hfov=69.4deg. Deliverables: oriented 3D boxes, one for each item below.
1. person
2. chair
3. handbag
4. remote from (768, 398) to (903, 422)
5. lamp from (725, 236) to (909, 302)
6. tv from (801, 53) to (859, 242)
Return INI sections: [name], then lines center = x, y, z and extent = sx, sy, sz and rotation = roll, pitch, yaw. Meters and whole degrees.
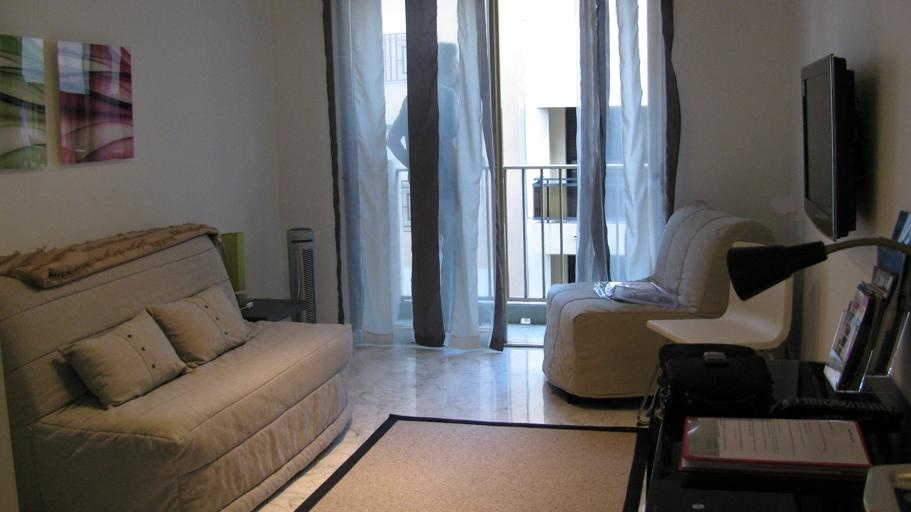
[person]
center = -0.255, -0.768, 5.645
extent = 0.589, 2.060, 0.357
rotation = -2, 13, -4
[chair]
center = 1.431, 0.333, 4.548
extent = 1.457, 1.061, 1.446
rotation = 1, 3, 4
[handbag]
center = 1.217, 0.567, 3.079
extent = 0.453, 0.244, 0.531
rotation = -4, 10, 11
[remote]
center = 1.594, 0.648, 2.768
extent = 0.286, 0.058, 0.057
rotation = 3, 14, 6
[lamp]
center = 1.453, 0.011, 2.638
extent = 0.754, 0.293, 0.283
rotation = -6, 4, 21
[tv]
center = 1.998, -0.584, 3.531
extent = 0.289, 0.924, 0.693
rotation = 5, 14, 24
